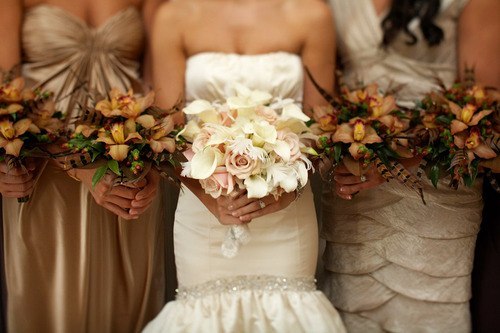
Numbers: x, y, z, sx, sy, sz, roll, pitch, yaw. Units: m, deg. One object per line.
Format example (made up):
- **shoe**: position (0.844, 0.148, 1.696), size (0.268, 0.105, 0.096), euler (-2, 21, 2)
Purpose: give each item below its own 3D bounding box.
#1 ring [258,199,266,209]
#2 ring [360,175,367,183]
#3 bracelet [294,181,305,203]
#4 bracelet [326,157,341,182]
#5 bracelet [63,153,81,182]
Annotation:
- **ring**: position (0.054, 0.170, 2.191), size (0.013, 0.039, 0.027), euler (-21, 23, -3)
- **ring**: position (0.540, 0.056, 2.302), size (0.027, 0.007, 0.053), euler (14, 61, -35)
- **bracelet**: position (0.227, 0.112, 2.212), size (0.070, 0.086, 0.064), euler (9, 11, 8)
- **bracelet**: position (0.419, 0.019, 2.417), size (0.044, 0.150, 0.045), euler (18, 64, 10)
- **bracelet**: position (-0.863, 0.000, 2.320), size (0.040, 0.112, 0.083), euler (-25, 15, 17)
